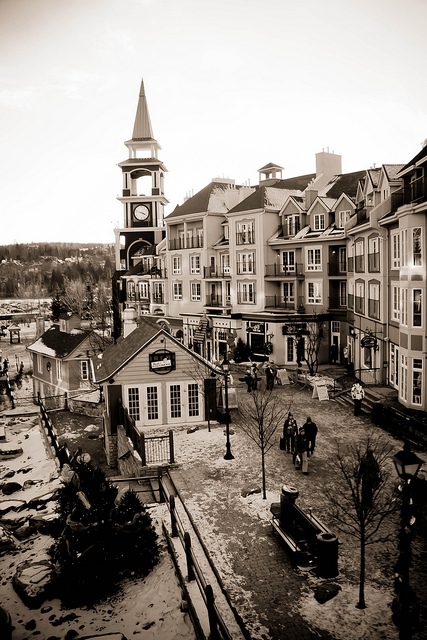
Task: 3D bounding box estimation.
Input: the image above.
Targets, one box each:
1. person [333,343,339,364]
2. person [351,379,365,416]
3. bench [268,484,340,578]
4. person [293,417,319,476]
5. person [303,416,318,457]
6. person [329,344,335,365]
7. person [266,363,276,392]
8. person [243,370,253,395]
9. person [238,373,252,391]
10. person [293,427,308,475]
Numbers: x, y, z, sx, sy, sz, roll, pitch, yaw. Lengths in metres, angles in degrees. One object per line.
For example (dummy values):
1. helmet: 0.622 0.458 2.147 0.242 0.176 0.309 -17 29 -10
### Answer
1. person: 7.390 1.972 36.958 0.281 1.168 0.417 0 3 38
2. person: 5.732 3.092 24.454 0.392 1.324 1.879 -2 3 13
3. bench: 1.978 4.447 13.095 0.821 1.427 2.050 -4 3 -17
4. person: 2.769 3.576 18.560 0.689 1.606 1.928 -2 3 7
5. person: 2.865 3.495 18.445 0.418 1.349 0.392 6 25 26
6. person: 7.101 2.059 36.975 0.381 1.068 0.240 0 4 41
7. person: 2.717 2.805 29.289 0.389 1.102 1.112 -2 3 5
8. person: 1.651 2.904 28.756 0.356 1.032 0.869 -2 3 4
9. person: 1.544 3.047 29.986 0.750 0.971 0.274 -2 0 -6
10. person: 2.564 3.802 18.091 0.417 1.236 0.922 -2 3 6
